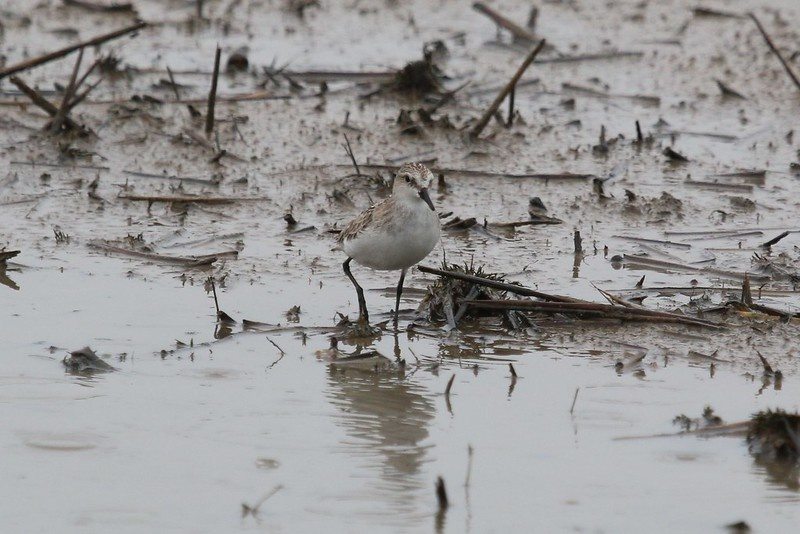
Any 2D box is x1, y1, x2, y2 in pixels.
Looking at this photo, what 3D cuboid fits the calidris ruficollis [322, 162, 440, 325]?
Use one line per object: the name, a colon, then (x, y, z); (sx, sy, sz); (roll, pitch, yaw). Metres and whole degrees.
calidris ruficollis: (-0.119, -0.249, 9.388); (0.942, 1.550, 0.453); (4, 2, 14)
